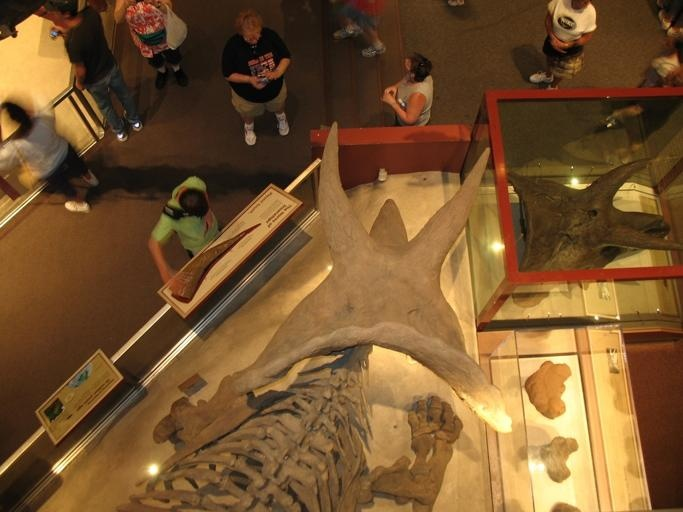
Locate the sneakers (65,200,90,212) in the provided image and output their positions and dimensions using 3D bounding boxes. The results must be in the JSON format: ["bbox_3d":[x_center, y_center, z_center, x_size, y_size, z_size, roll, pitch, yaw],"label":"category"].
[{"bbox_3d":[-2.770,-0.519,6.596,0.189,0.134,0.072,-1,-10,-7],"label":"sneakers"}]

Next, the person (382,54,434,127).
[{"bbox_3d":[0.654,-1.610,6.261,0.335,0.437,0.934,9,5,0],"label":"person"}]

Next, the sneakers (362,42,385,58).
[{"bbox_3d":[0.360,-2.325,7.175,0.230,0.149,0.099,-11,-22,9],"label":"sneakers"}]

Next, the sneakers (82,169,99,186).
[{"bbox_3d":[-2.662,-0.818,6.678,0.079,0.108,0.222,6,30,-49],"label":"sneakers"}]

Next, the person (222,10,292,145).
[{"bbox_3d":[-0.823,-1.721,6.424,0.603,0.647,1.744,-9,-23,-5],"label":"person"}]

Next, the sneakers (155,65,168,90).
[{"bbox_3d":[-2.031,-1.988,7.101,0.100,0.268,0.098,5,3,-7],"label":"sneakers"}]

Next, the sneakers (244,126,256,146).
[{"bbox_3d":[-0.984,-1.305,6.793,0.091,0.232,0.134,-10,-11,-9],"label":"sneakers"}]

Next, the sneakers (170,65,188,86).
[{"bbox_3d":[-1.820,-2.010,7.116,0.110,0.284,0.108,-22,9,-2],"label":"sneakers"}]

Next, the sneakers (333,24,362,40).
[{"bbox_3d":[0.076,-2.560,7.230,0.338,0.140,0.243,-2,-3,10],"label":"sneakers"}]

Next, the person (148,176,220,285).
[{"bbox_3d":[-1.482,-0.190,5.924,0.307,0.688,0.966,37,-12,6],"label":"person"}]

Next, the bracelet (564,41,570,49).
[{"bbox_3d":[2.320,-2.170,6.482,0.071,0.036,0.059,1,-7,24],"label":"bracelet"}]

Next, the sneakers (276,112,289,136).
[{"bbox_3d":[-0.633,-1.421,6.834,0.102,0.273,0.104,-13,-13,-2],"label":"sneakers"}]

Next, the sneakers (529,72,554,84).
[{"bbox_3d":[2.262,-2.006,7.143,0.267,0.113,0.121,1,0,9],"label":"sneakers"}]
